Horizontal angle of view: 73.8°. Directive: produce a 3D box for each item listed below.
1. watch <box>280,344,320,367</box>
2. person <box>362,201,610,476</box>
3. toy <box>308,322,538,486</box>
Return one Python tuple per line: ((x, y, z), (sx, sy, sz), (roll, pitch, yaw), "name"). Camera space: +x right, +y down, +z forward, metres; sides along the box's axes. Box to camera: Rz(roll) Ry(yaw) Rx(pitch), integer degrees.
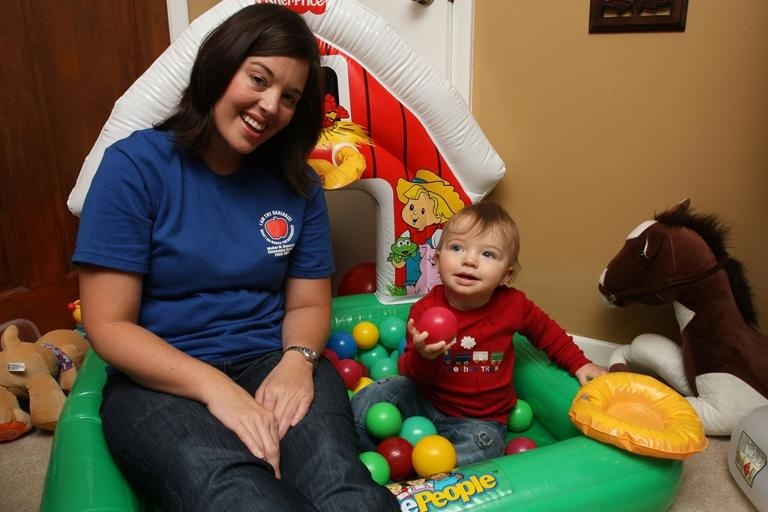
((-0.241, 0.298, 1.567), (0.064, 0.068, 0.030), (-1, 50, 38), "watch")
((0.330, 0.286, 1.813), (0.909, 0.926, 0.518), (-3, 14, -24), "person")
((0.091, 0.567, 1.891), (0.479, 0.176, 0.521), (-11, 46, -13), "toy")
